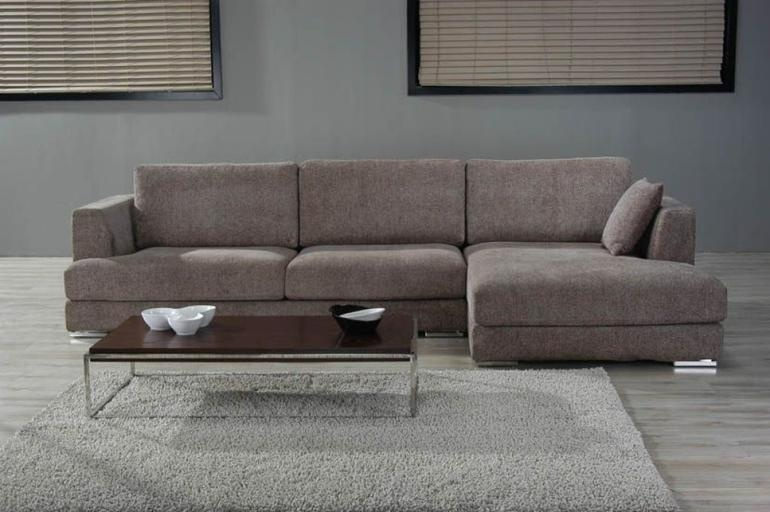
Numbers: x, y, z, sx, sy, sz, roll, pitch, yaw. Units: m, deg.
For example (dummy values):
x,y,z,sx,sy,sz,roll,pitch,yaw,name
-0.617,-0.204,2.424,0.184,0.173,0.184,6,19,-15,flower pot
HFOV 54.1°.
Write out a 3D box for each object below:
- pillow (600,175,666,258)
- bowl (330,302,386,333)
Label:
x,y,z,sx,sy,sz,roll,pitch,yaw,name
1.532,-0.239,4.777,0.165,0.446,0.496,24,18,4,pillow
-0.152,0.318,3.920,0.216,0.072,0.170,0,2,17,bowl
